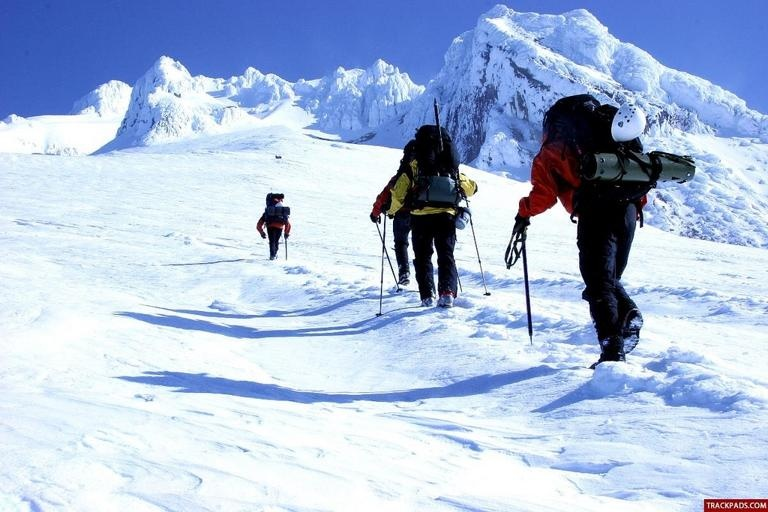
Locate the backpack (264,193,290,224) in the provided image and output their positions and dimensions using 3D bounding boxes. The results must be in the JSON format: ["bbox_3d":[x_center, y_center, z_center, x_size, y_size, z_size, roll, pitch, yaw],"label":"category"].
[{"bbox_3d":[-2.775,-1.184,21.782,0.647,0.349,0.968,-2,20,-8],"label":"backpack"}]

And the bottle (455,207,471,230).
[{"bbox_3d":[1.341,-0.653,14.417,0.212,0.368,0.344,3,16,17],"label":"bottle"}]

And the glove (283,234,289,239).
[{"bbox_3d":[-2.566,-0.504,22.026,0.144,0.151,0.163,-3,5,-5],"label":"glove"}]

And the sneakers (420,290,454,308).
[{"bbox_3d":[0.846,0.770,14.020,0.213,0.213,0.602,10,-18,-42],"label":"sneakers"}]

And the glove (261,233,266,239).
[{"bbox_3d":[-3.225,-0.529,22.514,0.091,0.156,0.197,16,0,1],"label":"glove"}]
